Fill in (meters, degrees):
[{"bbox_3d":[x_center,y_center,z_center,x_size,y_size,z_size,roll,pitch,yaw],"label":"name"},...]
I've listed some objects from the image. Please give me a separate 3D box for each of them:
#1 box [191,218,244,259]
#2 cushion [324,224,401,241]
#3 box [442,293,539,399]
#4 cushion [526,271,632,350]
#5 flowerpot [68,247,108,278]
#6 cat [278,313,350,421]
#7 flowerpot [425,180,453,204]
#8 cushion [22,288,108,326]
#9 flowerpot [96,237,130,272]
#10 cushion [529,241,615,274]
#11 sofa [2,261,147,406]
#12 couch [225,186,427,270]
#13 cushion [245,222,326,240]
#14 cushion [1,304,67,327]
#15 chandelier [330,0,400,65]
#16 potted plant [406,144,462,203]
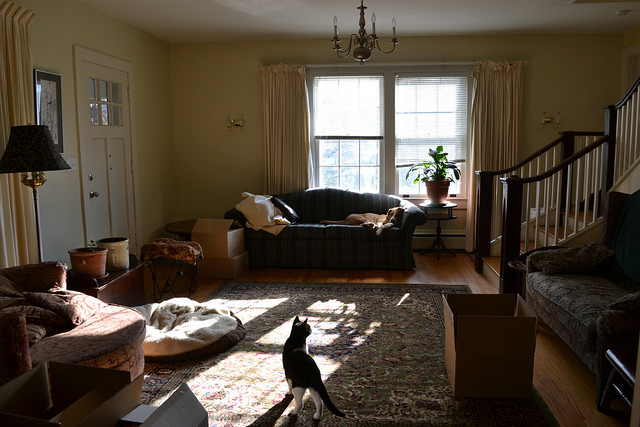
[{"bbox_3d":[-1.336,0.273,6.016,0.511,0.440,0.555,0,9,5],"label":"box"},{"bbox_3d":[0.561,0.268,6.131,1.007,0.170,0.108,2,14,7],"label":"cushion"},{"bbox_3d":[1.295,1.009,3.573,0.623,0.650,0.443,0,14,1],"label":"box"},{"bbox_3d":[2.166,0.703,3.814,0.425,0.308,0.770,0,14,4],"label":"cushion"},{"bbox_3d":[-2.157,0.468,4.230,0.377,0.277,0.369,2,1,-17],"label":"flowerpot"},{"bbox_3d":[-0.061,1.091,3.486,0.451,0.624,0.820,-3,14,-9],"label":"cat"},{"bbox_3d":[1.709,-0.300,6.643,0.333,0.296,0.332,0,0,-1],"label":"flowerpot"},{"bbox_3d":[-2.054,0.703,3.692,0.657,0.181,0.663,6,12,-32],"label":"cushion"},{"bbox_3d":[-1.960,0.352,4.496,0.260,0.261,0.268,4,29,-10],"label":"flowerpot"},{"bbox_3d":[2.310,0.414,4.243,0.377,0.125,0.396,-10,2,18],"label":"cushion"},{"bbox_3d":[-1.824,0.826,3.354,1.149,0.700,0.878,2,13,0],"label":"sofa"},{"bbox_3d":[0.123,0.191,6.567,2.558,1.086,0.860,0,8,3],"label":"couch"},{"bbox_3d":[-0.466,0.253,6.247,1.092,0.188,0.191,0,14,2],"label":"cushion"},{"bbox_3d":[-2.064,0.746,3.388,0.223,0.073,0.241,16,-7,37],"label":"cushion"},{"bbox_3d":[0.588,-2.280,5.781,1.006,1.007,0.875,0,17,3],"label":"chandelier"},{"bbox_3d":[1.697,-0.567,7.022,0.812,0.747,0.861,1,0,2],"label":"potted plant"}]
